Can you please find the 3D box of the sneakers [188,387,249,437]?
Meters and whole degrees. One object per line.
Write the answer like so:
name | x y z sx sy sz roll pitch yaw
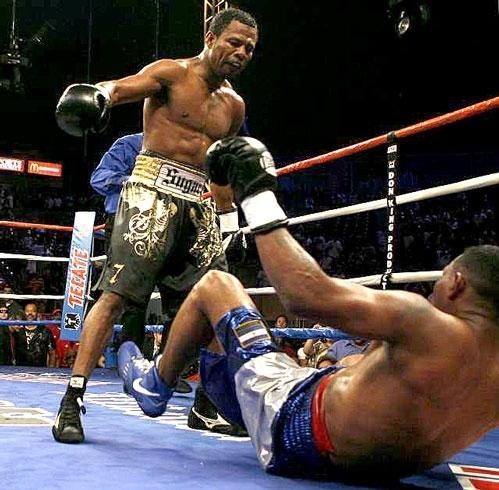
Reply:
sneakers | -0.075 0.583 1.787 0.286 0.155 0.102 -4 -12 32

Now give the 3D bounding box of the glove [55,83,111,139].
glove | -0.425 -0.339 1.411 0.147 0.156 0.151 2 50 -15

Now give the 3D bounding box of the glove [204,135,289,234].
glove | 0.015 -0.119 1.073 0.171 0.182 0.091 -11 1 23
